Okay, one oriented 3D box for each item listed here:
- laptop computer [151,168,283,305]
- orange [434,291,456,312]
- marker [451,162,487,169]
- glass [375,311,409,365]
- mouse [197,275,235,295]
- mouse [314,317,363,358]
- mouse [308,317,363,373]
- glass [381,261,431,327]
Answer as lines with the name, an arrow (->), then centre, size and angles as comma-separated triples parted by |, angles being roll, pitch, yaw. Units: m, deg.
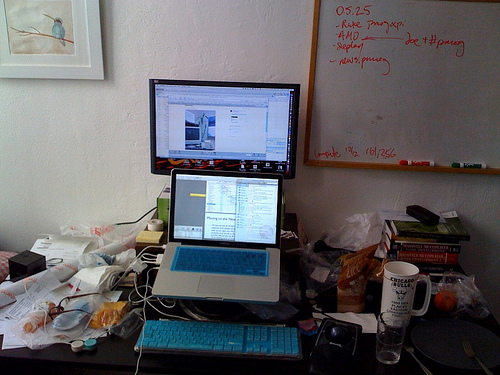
laptop computer -> -0.112, 0.161, 1.422 | 0.492, 0.269, 0.455 | -4, 33, -6
orange -> 0.726, 0.422, 1.472 | 0.066, 0.065, 0.067 | -12, 28, 6
marker -> 1.000, -0.099, 1.805 | 0.110, 0.023, 0.022 | 2, -10, 13
glass -> 0.480, 0.511, 1.384 | 0.110, 0.179, 0.175 | 8, 3, 20
mouse -> -0.119, 0.350, 1.414 | 0.132, 0.046, 0.058 | 1, 9, 3
mouse -> 0.300, 0.504, 1.347 | 0.147, 0.080, 0.153 | 4, 9, 22
mouse -> 0.286, 0.520, 1.325 | 0.155, 0.105, 0.225 | 4, 9, 21
glass -> 0.549, 0.379, 1.396 | 0.156, 0.216, 0.089 | 3, 9, 18
